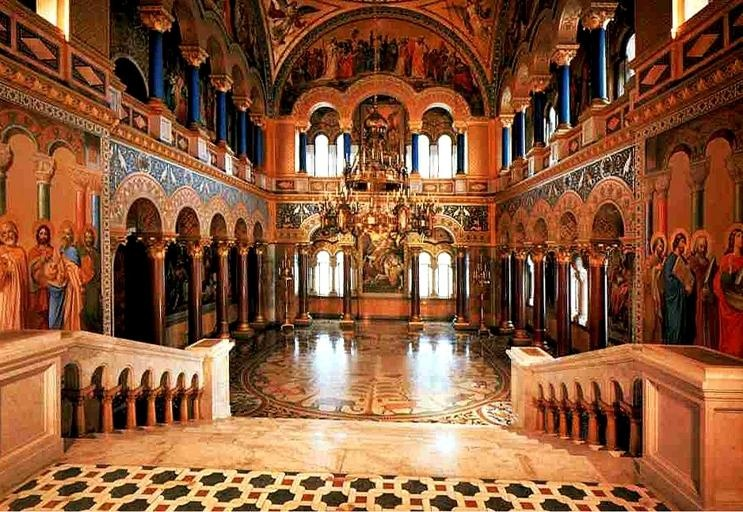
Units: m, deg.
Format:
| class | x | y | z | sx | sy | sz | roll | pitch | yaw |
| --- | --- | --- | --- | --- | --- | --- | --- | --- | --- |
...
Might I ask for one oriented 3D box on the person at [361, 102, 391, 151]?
| class | x | y | z | sx | sy | sz | roll | pitch | yaw |
| --- | --- | --- | --- | --- | --- | --- | --- | --- | --- |
| person | 0.112 | -3.918 | 17.009 | 0.583 | 1.468 | 0.578 | -2 | 0 | -40 |
